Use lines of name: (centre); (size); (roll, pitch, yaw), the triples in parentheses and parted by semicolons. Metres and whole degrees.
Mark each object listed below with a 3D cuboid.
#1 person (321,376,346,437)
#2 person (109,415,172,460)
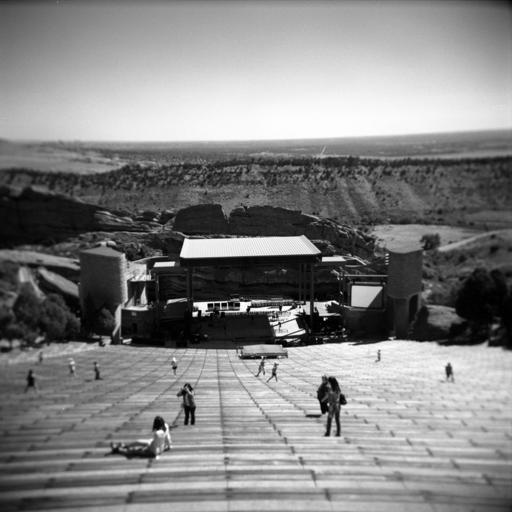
person: (1.373, 2.654, 9.174); (0.416, 0.918, 1.141); (0, -5, 8)
person: (-1.796, 2.780, 7.872); (0.913, 0.584, 0.448); (-6, -1, 17)
